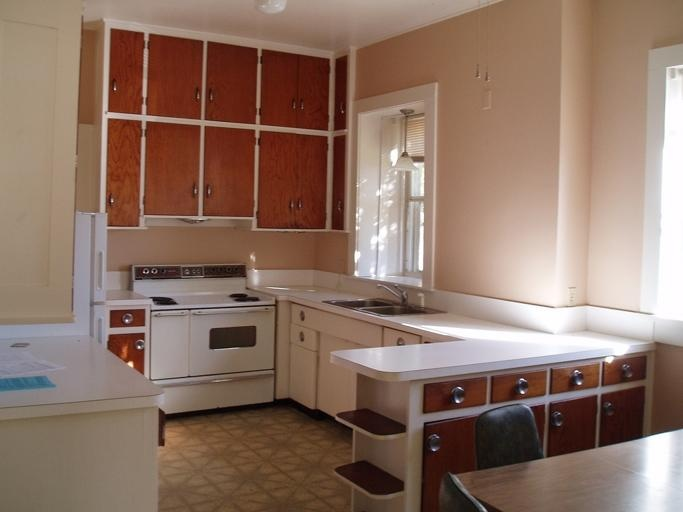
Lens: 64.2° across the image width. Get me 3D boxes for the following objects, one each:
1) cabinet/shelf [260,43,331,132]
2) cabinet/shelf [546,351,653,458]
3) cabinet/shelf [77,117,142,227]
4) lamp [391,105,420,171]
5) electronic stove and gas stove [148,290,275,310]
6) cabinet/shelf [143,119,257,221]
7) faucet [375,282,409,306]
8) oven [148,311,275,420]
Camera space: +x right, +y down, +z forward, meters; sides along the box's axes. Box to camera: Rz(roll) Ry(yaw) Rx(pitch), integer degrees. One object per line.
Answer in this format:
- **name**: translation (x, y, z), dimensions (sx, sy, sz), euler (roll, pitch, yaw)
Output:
- **cabinet/shelf**: translation (-0.469, -1.601, 5.098), dimensions (0.751, 0.711, 0.317), euler (0, 9, -23)
- **cabinet/shelf**: translation (1.460, 0.859, 3.283), dimensions (0.667, 0.633, 0.347), euler (-8, 16, -11)
- **cabinet/shelf**: translation (-1.999, -0.711, 4.627), dimensions (0.578, 0.898, 0.271), euler (4, 5, 23)
- **lamp**: translation (0.560, -1.030, 4.820), dimensions (0.180, 0.540, 0.577), euler (2, 5, 6)
- **electronic stove and gas stove**: translation (-1.177, 0.367, 4.865), dimensions (1.061, 0.108, 0.582), euler (-1, 7, -26)
- **cabinet/shelf**: translation (-1.291, -0.778, 4.794), dimensions (0.890, 0.769, 0.342), euler (1, 1, -24)
- **faucet**: translation (0.446, 0.308, 4.505), dimensions (0.320, 0.206, 0.108), euler (4, -4, -34)
- **oven**: translation (-1.147, 0.846, 4.839), dimensions (1.038, 0.988, 0.520), euler (-1, 2, -21)
